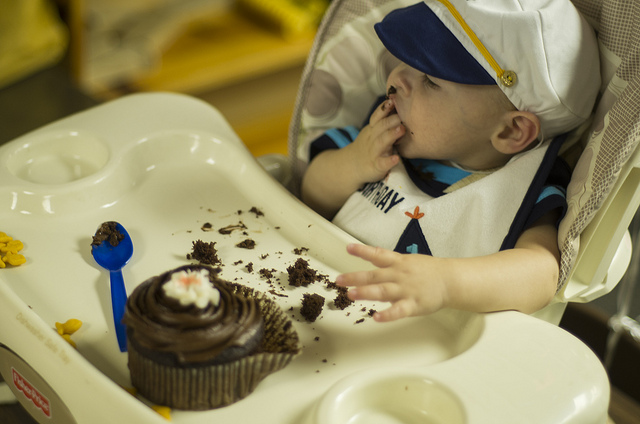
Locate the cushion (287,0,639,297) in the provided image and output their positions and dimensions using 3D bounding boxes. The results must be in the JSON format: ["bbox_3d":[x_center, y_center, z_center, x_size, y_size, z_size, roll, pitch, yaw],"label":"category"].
[{"bbox_3d":[0.361,-0.180,1.385,0.556,0.616,0.765,26,85,31],"label":"cushion"}]

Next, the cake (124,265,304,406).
[{"bbox_3d":[-0.175,0.188,0.941,0.271,0.179,0.228,2,23,-13],"label":"cake"}]

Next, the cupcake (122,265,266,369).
[{"bbox_3d":[-0.200,0.166,0.882,0.210,0.098,0.141,-9,55,-2],"label":"cupcake"}]

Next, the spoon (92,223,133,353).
[{"bbox_3d":[-0.351,0.128,0.997,0.069,0.041,0.324,-14,32,-15],"label":"spoon"}]

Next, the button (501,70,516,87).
[{"bbox_3d":[0.350,-0.246,1.060,0.022,0.023,0.028,-28,56,32],"label":"button"}]
